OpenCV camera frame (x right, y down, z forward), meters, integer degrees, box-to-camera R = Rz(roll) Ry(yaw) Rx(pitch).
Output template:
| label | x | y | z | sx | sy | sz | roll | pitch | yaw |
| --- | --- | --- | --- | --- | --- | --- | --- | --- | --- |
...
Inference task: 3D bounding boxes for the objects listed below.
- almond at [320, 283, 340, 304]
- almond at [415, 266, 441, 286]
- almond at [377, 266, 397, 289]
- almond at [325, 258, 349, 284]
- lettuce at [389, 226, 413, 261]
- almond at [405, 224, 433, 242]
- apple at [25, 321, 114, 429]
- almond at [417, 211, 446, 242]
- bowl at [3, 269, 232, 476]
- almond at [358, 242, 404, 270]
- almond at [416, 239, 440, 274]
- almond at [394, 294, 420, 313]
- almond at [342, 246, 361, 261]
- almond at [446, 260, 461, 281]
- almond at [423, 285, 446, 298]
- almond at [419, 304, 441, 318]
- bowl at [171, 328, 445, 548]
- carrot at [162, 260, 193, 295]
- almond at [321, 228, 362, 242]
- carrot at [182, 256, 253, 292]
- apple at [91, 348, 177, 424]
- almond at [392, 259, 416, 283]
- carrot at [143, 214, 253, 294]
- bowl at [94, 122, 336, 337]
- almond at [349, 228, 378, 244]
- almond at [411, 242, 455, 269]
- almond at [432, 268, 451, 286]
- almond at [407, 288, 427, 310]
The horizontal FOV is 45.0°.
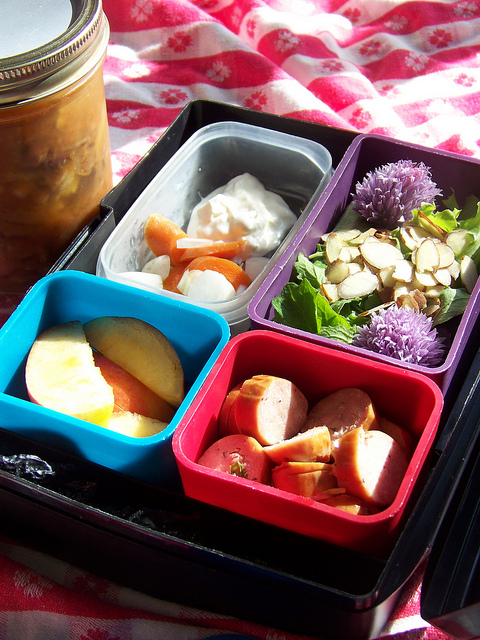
| label | x | y | z | sx | sy | sz | roll | pitch | yaw |
| --- | --- | --- | --- | --- | --- | --- | --- | --- | --- |
| almond | 0.095 | -0.027 | 0.619 | 0.022 | 0.005 | 0.019 | -2 | 74 | -42 |
| almond | 0.193 | -0.045 | 0.606 | 0.018 | 0.011 | 0.023 | -10 | 35 | -21 |
| almond | 0.152 | -0.048 | 0.616 | 0.023 | 0.005 | 0.022 | -28 | 77 | 1 |
| almond | 0.105 | -0.053 | 0.629 | 0.028 | 0.023 | 0.007 | 13 | 0 | 28 |
| lettuce | 0.183 | -0.086 | 0.664 | 0.018 | 0.037 | 0.033 | -16 | -3 | 13 |
| almond | 0.204 | -0.099 | 0.660 | 0.025 | 0.005 | 0.016 | 10 | 36 | -27 |
| apple | -0.160 | 0.053 | 0.527 | 0.064 | 0.034 | 0.117 | -10 | 34 | -22 |
| almond | 0.215 | -0.108 | 0.660 | 0.034 | 0.008 | 0.026 | 37 | 19 | -2 |
| bowl | -0.128 | 0.058 | 0.567 | 0.242 | 0.077 | 0.164 | 20 | 53 | 6 |
| almond | 0.152 | -0.072 | 0.636 | 0.048 | 0.018 | 0.034 | 20 | 36 | 23 |
| almond | 0.205 | -0.068 | 0.616 | 0.025 | 0.005 | 0.034 | -2 | 62 | 8 |
| almond | 0.166 | -0.015 | 0.590 | 0.017 | 0.006 | 0.019 | -27 | 63 | 1 |
| almond | 0.126 | -0.075 | 0.652 | 0.015 | 0.005 | 0.014 | 13 | 55 | -32 |
| almond | 0.227 | -0.053 | 0.618 | 0.020 | 0.005 | 0.019 | -36 | 88 | -35 |
| almond | 0.201 | -0.029 | 0.598 | 0.016 | 0.003 | 0.015 | -22 | 56 | -16 |
| almond | 0.193 | -0.009 | 0.589 | 0.012 | 0.016 | 0.005 | 29 | 43 | -30 |
| bowl | 0.062 | 0.098 | 0.481 | 0.190 | 0.068 | 0.126 | 10 | 61 | 23 |
| carrot | -0.083 | -0.051 | 0.727 | 0.009 | 0.041 | 0.041 | 27 | 18 | -35 |
| almond | 0.126 | -0.103 | 0.685 | 0.025 | 0.005 | 0.030 | 12 | 36 | 34 |
| carrot | -0.016 | -0.062 | 0.722 | 0.091 | 0.033 | 0.071 | -15 | 37 | -27 |
| apple | -0.102 | 0.065 | 0.550 | 0.059 | 0.054 | 0.074 | -11 | 36 | -22 |
| almond | 0.173 | -0.052 | 0.613 | 0.026 | 0.006 | 0.023 | 11 | 62 | -2 |
| carrot | -0.059 | -0.085 | 0.739 | 0.125 | 0.043 | 0.113 | -1 | 32 | -14 |
| bowl | -0.011 | -0.114 | 0.872 | 0.277 | 0.118 | 0.355 | 23 | 59 | 19 |
| almond | 0.143 | -0.098 | 0.675 | 0.029 | 0.005 | 0.020 | -36 | 32 | -31 |
| almond | 0.208 | -0.069 | 0.624 | 0.035 | 0.007 | 0.034 | -24 | 66 | -20 |
| almond | 0.213 | -0.046 | 0.606 | 0.017 | 0.006 | 0.018 | 3 | 60 | 0 |
| almond | 0.180 | -0.021 | 0.589 | 0.017 | 0.006 | 0.019 | -14 | 82 | -23 |
